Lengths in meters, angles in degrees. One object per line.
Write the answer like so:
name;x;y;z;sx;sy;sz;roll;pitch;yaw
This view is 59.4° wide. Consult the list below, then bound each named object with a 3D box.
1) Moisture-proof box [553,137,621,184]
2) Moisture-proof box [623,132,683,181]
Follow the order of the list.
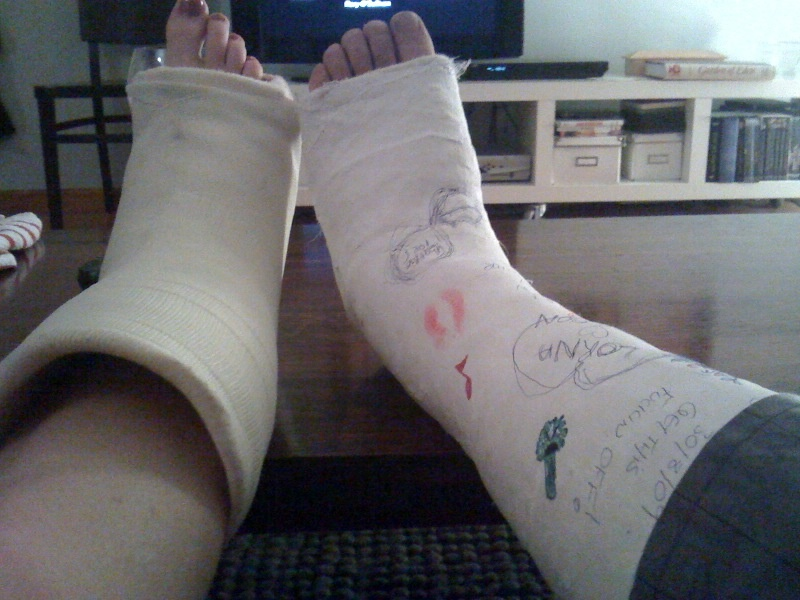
Moisture-proof box;0.622;-0.460;2.321;0.183;0.110;0.171;1;33;6
Moisture-proof box;0.869;-0.487;2.449;0.180;0.150;0.174;0;24;2
